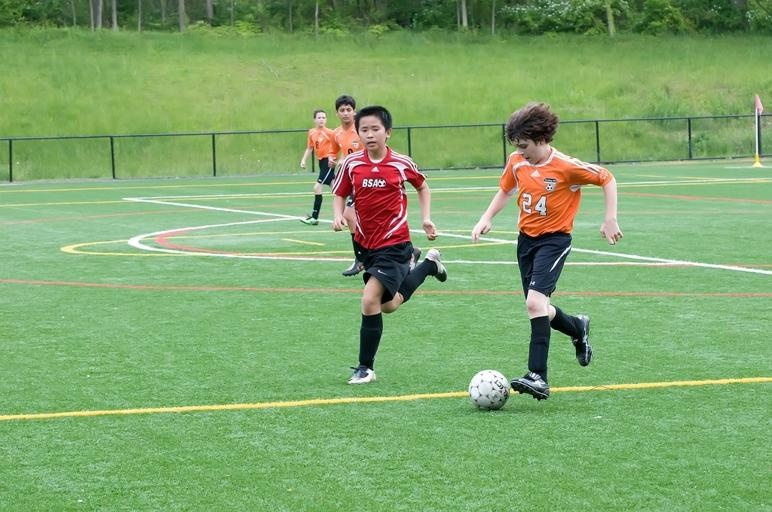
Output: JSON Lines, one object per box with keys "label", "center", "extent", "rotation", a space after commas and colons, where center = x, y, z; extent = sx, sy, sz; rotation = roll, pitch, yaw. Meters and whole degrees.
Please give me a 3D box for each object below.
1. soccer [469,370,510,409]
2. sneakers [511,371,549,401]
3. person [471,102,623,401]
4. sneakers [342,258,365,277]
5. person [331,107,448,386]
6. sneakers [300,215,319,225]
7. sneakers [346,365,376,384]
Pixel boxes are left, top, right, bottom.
{"label": "soccer", "center": [0.773, 1.002, 7.179], "extent": [0.306, 0.265, 0.243], "rotation": [-1, 14, 1]}
{"label": "sneakers", "center": [1.131, 0.963, 7.211], "extent": [0.374, 0.126, 0.168], "rotation": [16, 36, -8]}
{"label": "person", "center": [1.251, -0.084, 7.573], "extent": [1.136, 2.220, 1.425], "rotation": [2, 14, 10]}
{"label": "sneakers", "center": [-0.414, 0.158, 11.483], "extent": [0.178, 0.148, 0.430], "rotation": [-2, 4, 21]}
{"label": "person", "center": [0.001, -0.142, 7.944], "extent": [0.871, 2.172, 1.144], "rotation": [-1, 15, 0]}
{"label": "sneakers", "center": [-1.400, -0.665, 17.970], "extent": [0.140, 0.131, 0.358], "rotation": [-1, 8, -42]}
{"label": "sneakers", "center": [-0.179, 0.951, 7.746], "extent": [0.284, 0.116, 0.200], "rotation": [-5, 13, -19]}
